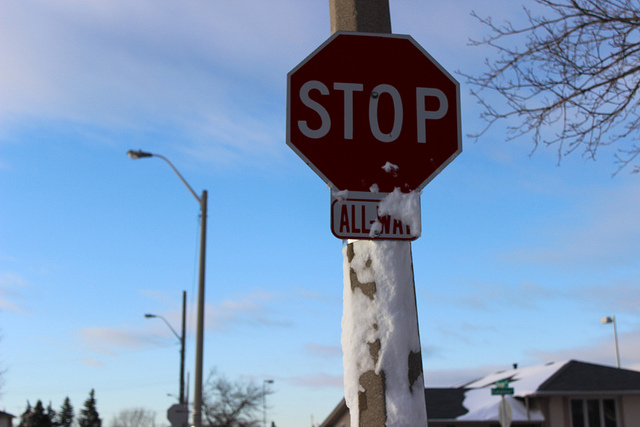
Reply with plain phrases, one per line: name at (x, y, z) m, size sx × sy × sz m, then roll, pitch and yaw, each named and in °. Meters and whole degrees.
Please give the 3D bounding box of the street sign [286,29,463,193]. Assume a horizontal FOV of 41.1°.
street sign at (0.661, -1.647, 14.176) m, size 2.413 × 3.107 × 2.802 m, roll 6°, pitch -16°, yaw -16°
